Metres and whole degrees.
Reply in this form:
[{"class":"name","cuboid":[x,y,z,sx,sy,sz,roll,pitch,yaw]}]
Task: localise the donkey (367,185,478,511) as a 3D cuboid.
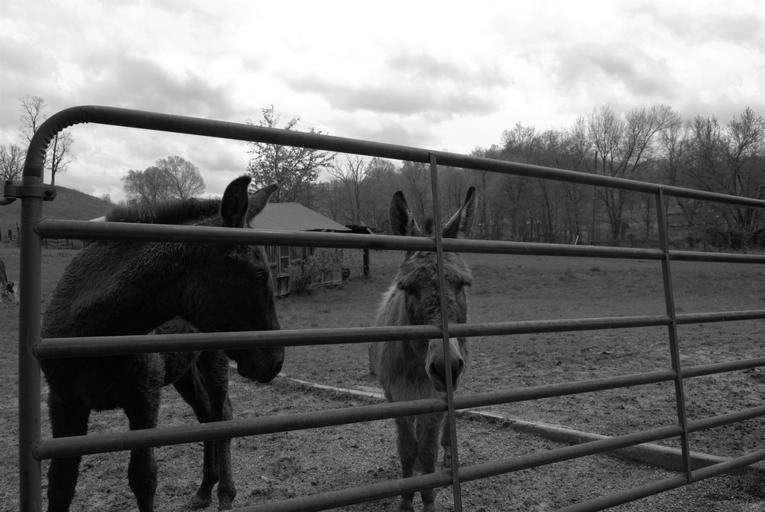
[{"class":"donkey","cuboid":[0.401,0.872,5.608,0.955,2.897,2.367,-4,-1,0]}]
